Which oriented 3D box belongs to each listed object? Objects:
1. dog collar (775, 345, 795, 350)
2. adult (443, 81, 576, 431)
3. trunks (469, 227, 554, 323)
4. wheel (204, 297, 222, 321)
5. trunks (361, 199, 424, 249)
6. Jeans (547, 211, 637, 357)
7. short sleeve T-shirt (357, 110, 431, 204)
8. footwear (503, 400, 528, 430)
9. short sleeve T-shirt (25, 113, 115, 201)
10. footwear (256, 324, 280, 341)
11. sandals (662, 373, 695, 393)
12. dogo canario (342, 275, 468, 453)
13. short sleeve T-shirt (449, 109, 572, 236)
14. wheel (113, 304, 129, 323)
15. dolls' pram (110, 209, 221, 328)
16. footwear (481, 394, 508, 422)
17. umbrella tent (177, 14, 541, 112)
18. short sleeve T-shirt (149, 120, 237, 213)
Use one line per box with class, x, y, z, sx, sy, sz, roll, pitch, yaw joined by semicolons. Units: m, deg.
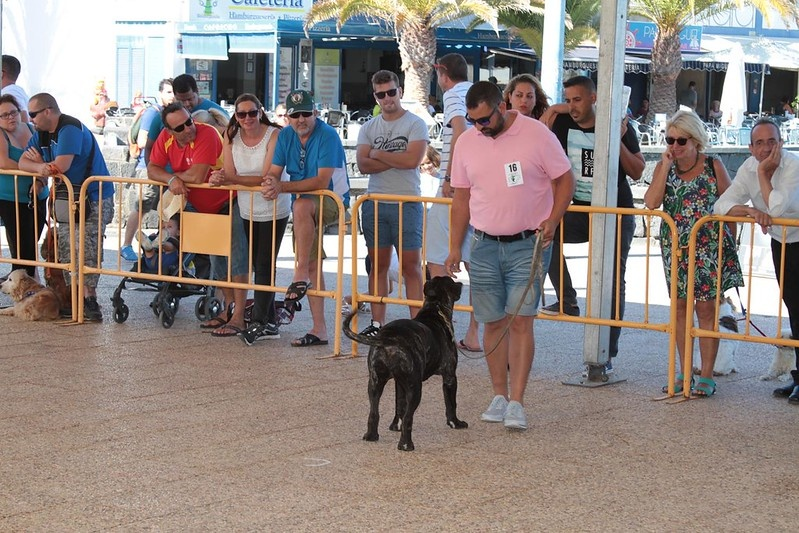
dog collar;3.550;0.745;8.454;0.095;0.025;0.103;3;3;36
adult;0.898;-0.100;7.367;1.013;2.637;0.777;0;1;23
trunks;0.848;0.013;7.451;0.565;0.794;0.419;-2;17;9
wheel;-2.071;0.469;10.156;0.060;0.203;0.202;4;20;31
trunks;-0.080;-0.485;9.466;0.628;0.568;0.364;1;21;11
Jeans;1.874;0.206;8.982;0.078;1.565;1.400;4;0;-36
short sleeve T-shirt;-0.066;-1.101;9.528;0.765;0.955;0.496;1;10;22
footwear;0.921;1.177;7.296;0.188;0.216;0.201;2;13;7
short sleeve T-shirt;-3.716;-1.201;10.263;0.746;0.916;0.716;-2;14;0
footwear;-1.354;0.686;9.601;0.274;0.130;0.100;8;-8;-44
sandals;2.497;1.029;8.181;0.135;0.161;0.380;-3;-3;34
dogo canario;0.051;0.737;7.196;0.633;1.253;1.882;2;1;25
short sleeve T-shirt;0.876;-0.722;7.281;0.926;0.929;0.325;2;12;6
wheel;-3.031;0.509;9.983;0.051;0.131;0.180;11;-12;40
dolls' pram;-2.579;-0.054;10.188;1.158;1.360;1.110;-1;2;-27
footwear;0.773;1.153;7.422;0.117;0.141;0.308;2;1;25
umbrella tent;-0.278;-6.603;32.543;7.091;2.459;10.400;1;10;-9
short sleeve T-shirt;-2.285;-1.000;9.941;0.817;1.078;0.756;3;40;14
